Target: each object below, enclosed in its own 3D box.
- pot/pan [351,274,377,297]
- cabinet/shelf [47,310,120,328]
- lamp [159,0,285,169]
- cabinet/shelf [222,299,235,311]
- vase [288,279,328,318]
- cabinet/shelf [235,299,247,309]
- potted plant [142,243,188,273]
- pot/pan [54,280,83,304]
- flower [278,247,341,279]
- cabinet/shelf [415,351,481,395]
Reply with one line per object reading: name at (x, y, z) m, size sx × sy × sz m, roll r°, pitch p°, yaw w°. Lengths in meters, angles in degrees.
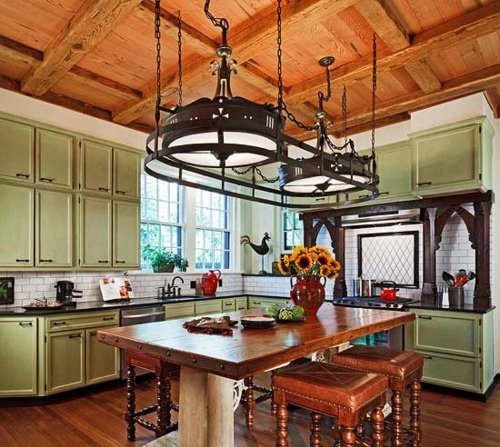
pot/pan at (1.530, 0.844, 5.660) m, size 0.318 × 0.219 × 0.281 m, roll -2°, pitch -4°, yaw 35°
cabinet/shelf at (-1.783, 1.011, 4.418) m, size 0.302 × 0.083 × 0.446 m, roll -4°, pitch -6°, yaw 39°
lamp at (-0.207, -0.956, 2.738) m, size 0.813 × 1.137 × 0.775 m, roll 0°, pitch -5°, yaw -11°
cabinet/shelf at (-0.307, 1.183, 6.071) m, size 0.207 × 0.122 × 0.204 m, roll -4°, pitch -5°, yaw 44°
vase at (0.567, 0.657, 3.777) m, size 0.393 × 0.335 × 0.346 m, roll 2°, pitch -12°, yaw -17°
cabinet/shelf at (-0.134, 1.207, 6.287) m, size 0.162 × 0.180 × 0.217 m, roll -2°, pitch -5°, yaw 29°
potted plant at (-1.216, 0.504, 5.997) m, size 0.636 × 0.386 × 0.323 m, roll 3°, pitch -6°, yaw -42°
pot/pan at (-2.070, 0.788, 4.801) m, size 0.299 × 0.262 × 0.389 m, roll 0°, pitch -5°, yaw -21°
flower at (0.542, 0.349, 3.780) m, size 0.426 × 0.185 × 0.371 m, roll 2°, pitch -5°, yaw 5°
cabinet/shelf at (2.210, 1.620, 4.574) m, size 0.672 × 0.348 × 0.382 m, roll -1°, pitch -3°, yaw 40°
